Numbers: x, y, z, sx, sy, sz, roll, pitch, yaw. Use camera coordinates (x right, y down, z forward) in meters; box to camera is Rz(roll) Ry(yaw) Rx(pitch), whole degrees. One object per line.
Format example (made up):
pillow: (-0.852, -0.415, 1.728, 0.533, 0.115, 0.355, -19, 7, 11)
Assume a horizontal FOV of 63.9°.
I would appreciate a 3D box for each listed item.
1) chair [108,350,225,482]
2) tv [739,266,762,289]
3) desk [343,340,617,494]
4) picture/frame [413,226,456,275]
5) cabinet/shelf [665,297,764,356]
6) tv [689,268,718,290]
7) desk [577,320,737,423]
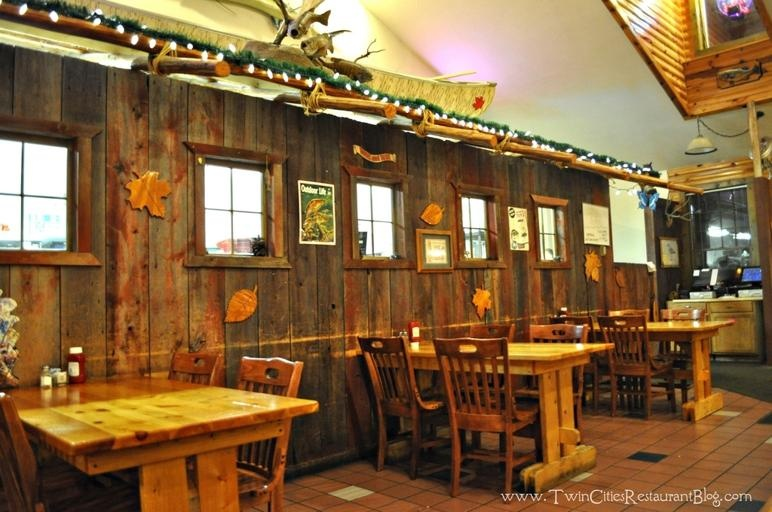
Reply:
chair: (-1.462, 1.049, 4.642, 0.650, 1.099, 0.829, -5, -14, 34)
tv: (6.406, 0.374, 10.846, 0.128, 0.379, 0.383, 42, -31, -23)
desk: (1.198, 1.359, 5.531, 2.074, 1.026, 1.159, -12, -15, 43)
picture/frame: (0.521, -0.062, 6.815, 0.593, 0.464, 0.056, 0, -5, -40)
cabinet/shelf: (4.963, 1.058, 9.158, 0.419, 0.848, 1.061, 7, -9, -44)
tv: (5.940, 0.418, 11.489, 0.240, 0.376, 0.410, 5, -2, -25)
desk: (3.346, 1.104, 7.525, 1.262, 1.230, 1.572, -4, 2, -39)
